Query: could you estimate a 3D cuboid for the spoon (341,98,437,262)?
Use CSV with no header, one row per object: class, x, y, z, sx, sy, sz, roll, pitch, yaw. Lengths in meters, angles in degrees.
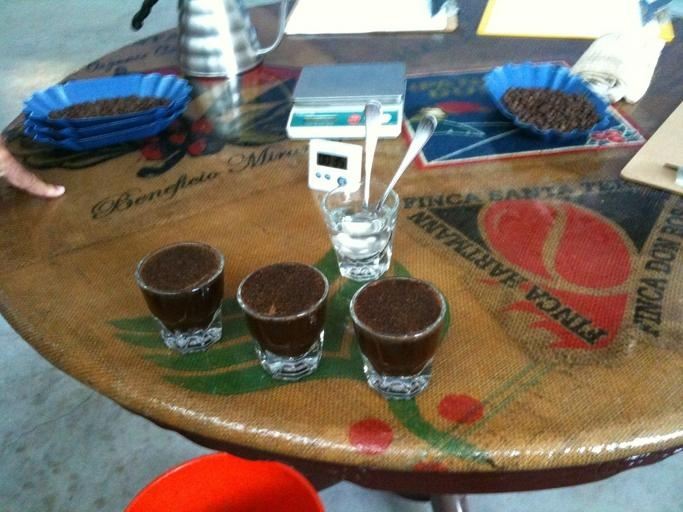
spoon,0.079,-0.144,0.827,0.148,0.079,0.276,10,66,8
